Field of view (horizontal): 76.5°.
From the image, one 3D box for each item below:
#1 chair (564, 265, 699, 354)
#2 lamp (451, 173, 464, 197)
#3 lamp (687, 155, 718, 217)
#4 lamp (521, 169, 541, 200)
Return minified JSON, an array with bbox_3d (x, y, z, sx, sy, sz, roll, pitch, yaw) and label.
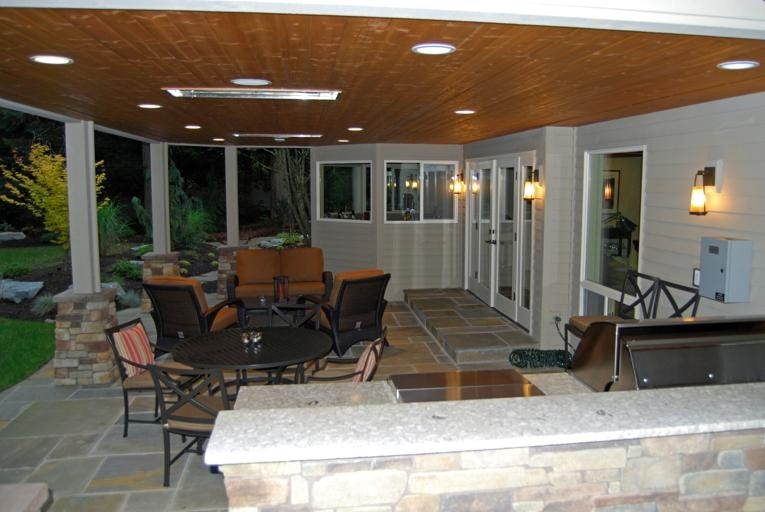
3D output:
[{"bbox_3d":[2.577,0.507,4.970,0.723,0.875,1.480,1,2,-10],"label":"chair"},{"bbox_3d":[1.634,-1.568,10.678,0.283,0.455,0.437,-4,0,-1],"label":"lamp"},{"bbox_3d":[3.211,-0.672,4.935,0.228,0.454,0.342,-4,0,7],"label":"lamp"},{"bbox_3d":[2.299,-1.141,7.542,0.217,0.490,0.637,-4,0,8],"label":"lamp"}]
